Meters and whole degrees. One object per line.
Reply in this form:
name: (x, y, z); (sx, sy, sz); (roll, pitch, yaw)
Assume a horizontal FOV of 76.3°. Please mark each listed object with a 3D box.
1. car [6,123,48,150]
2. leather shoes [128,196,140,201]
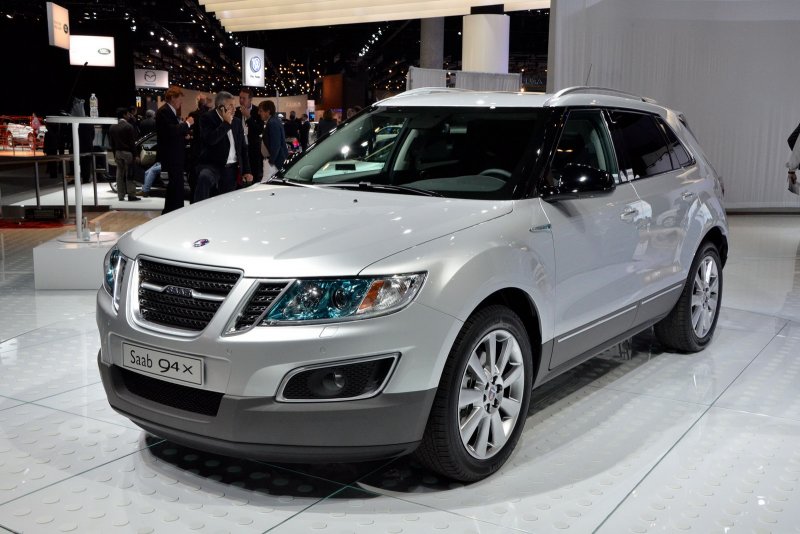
car: (-13.334, -4.557, 17.842); (0.997, 0.835, 8.482); (-7, 15, -32)
leather shoes: (-7.812, -1.987, 14.829); (0.349, 0.136, 0.115); (-3, 9, -21)
